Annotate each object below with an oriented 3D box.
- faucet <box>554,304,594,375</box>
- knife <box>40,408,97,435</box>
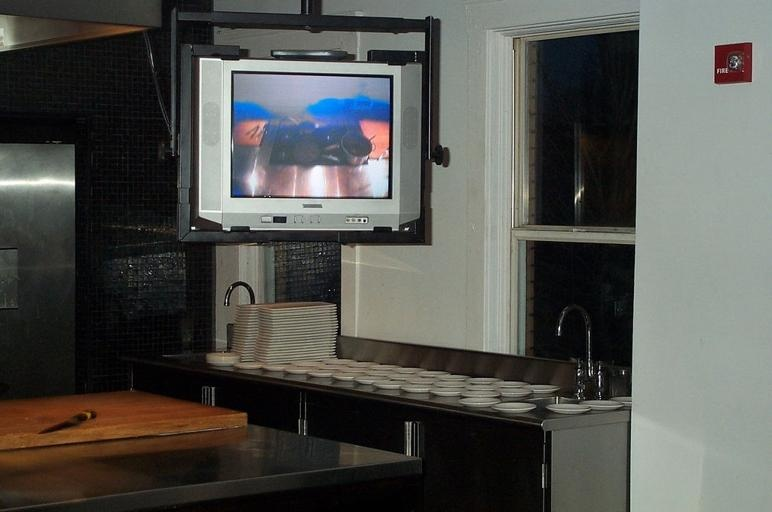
[{"bbox_3d":[0.923,0.378,3.798,0.177,0.316,0.507,3,5,14],"label":"faucet"},{"bbox_3d":[-1.176,0.614,2.886,0.049,0.036,0.201,-27,-6,32],"label":"knife"}]
